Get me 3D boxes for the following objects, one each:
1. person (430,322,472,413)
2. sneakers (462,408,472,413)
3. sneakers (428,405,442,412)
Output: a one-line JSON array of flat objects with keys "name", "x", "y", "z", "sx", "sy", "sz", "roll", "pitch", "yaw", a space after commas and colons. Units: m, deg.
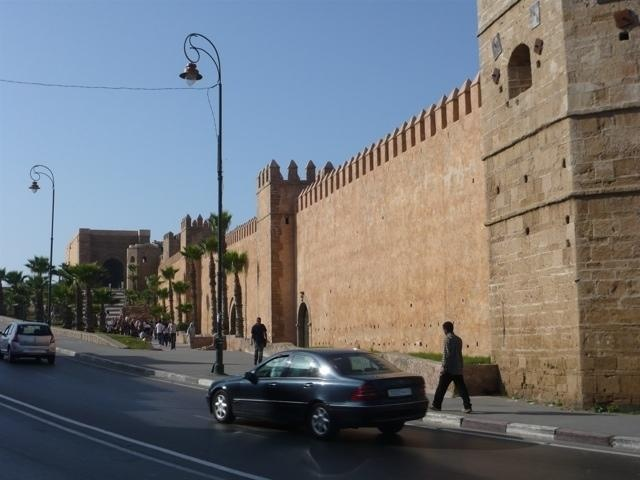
[{"name": "person", "x": 2.977, "y": 2.848, "z": 17.516, "sx": 0.910, "sy": 2.026, "sz": 0.610, "roll": -3, "pitch": -10, "yaw": 19}, {"name": "sneakers", "x": 3.256, "y": 3.734, "z": 17.061, "sx": 0.073, "sy": 0.097, "sz": 0.211, "roll": -1, "pitch": 6, "yaw": -44}, {"name": "sneakers", "x": 2.603, "y": 3.797, "z": 17.460, "sx": 0.248, "sy": 0.123, "sz": 0.496, "roll": -1, "pitch": -12, "yaw": 6}]
